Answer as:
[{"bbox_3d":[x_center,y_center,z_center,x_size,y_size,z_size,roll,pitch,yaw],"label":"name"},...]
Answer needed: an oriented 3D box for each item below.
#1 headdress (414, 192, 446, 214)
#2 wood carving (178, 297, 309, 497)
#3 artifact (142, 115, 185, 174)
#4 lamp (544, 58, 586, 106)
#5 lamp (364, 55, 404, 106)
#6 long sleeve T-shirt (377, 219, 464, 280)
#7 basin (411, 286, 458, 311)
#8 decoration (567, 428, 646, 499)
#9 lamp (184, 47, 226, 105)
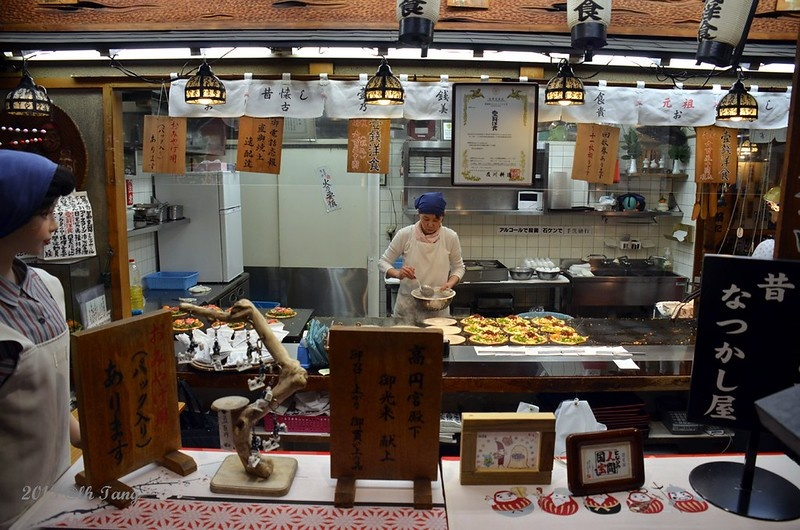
[{"bbox_3d":[0.288,-0.626,6.231,0.229,0.184,0.257,2,-5,-18],"label":"headdress"},{"bbox_3d":[-0.849,0.650,3.320,0.545,0.990,0.713,-3,9,-26],"label":"wood carving"},{"bbox_3d":[-2.242,-1.158,5.879,0.418,0.542,0.263,0,8,-10],"label":"artifact"},{"bbox_3d":[1.334,-1.588,5.288,0.387,0.350,0.366,-1,7,-4],"label":"lamp"},{"bbox_3d":[-0.174,-1.545,5.192,0.394,0.390,0.380,-1,7,-4],"label":"lamp"},{"bbox_3d":[0.233,-0.152,6.643,1.062,0.993,0.582,0,6,-5],"label":"long sleeve T-shirt"},{"bbox_3d":[0.303,0.311,5.673,0.360,0.225,0.463,3,8,14],"label":"basin"},{"bbox_3d":[1.061,1.020,3.197,0.416,0.315,0.097,0,8,-8],"label":"decoration"},{"bbox_3d":[-1.637,-1.612,5.339,0.403,0.424,0.393,0,6,-2],"label":"lamp"}]
